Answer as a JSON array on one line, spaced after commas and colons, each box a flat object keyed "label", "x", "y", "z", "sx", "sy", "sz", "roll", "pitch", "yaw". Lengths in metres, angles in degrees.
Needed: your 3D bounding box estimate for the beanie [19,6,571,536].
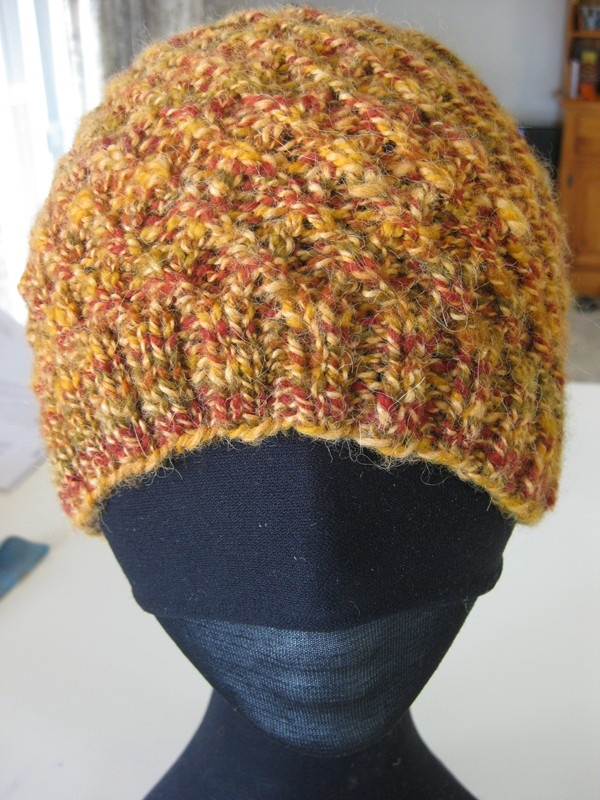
[{"label": "beanie", "x": 0.008, "y": -0.074, "z": 0.864, "sx": 0.534, "sy": 0.380, "sz": 0.468, "roll": 0, "pitch": -12, "yaw": -5}]
